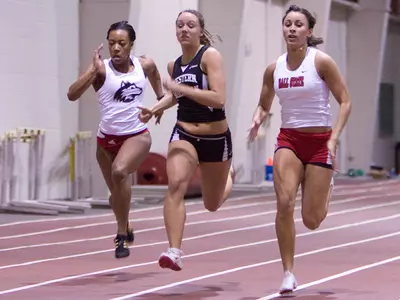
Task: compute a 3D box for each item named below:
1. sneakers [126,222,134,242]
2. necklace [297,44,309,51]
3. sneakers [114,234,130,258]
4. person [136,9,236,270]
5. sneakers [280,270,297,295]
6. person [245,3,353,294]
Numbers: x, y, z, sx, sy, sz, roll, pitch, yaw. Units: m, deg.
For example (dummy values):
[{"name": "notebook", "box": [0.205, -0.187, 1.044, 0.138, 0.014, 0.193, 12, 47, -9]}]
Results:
[{"name": "sneakers", "box": [-0.608, 0.715, 3.578, 0.064, 0.171, 0.057, 7, 14, 25]}, {"name": "necklace", "box": [0.724, -0.722, 2.954, 0.046, 0.040, 0.050, -5, 13, 9]}, {"name": "sneakers", "box": [-0.618, 0.752, 3.279, 0.104, 0.197, 0.210, -2, 7, -12]}, {"name": "person", "box": [-0.097, -0.148, 2.988, 0.554, 1.714, 1.109, 1, 7, 14]}, {"name": "sneakers", "box": [0.534, 0.804, 2.533, 0.058, 0.109, 0.210, -3, -10, 11]}, {"name": "person", "box": [0.710, -0.100, 2.921, 0.638, 1.862, 0.806, -1, 6, -2]}]
